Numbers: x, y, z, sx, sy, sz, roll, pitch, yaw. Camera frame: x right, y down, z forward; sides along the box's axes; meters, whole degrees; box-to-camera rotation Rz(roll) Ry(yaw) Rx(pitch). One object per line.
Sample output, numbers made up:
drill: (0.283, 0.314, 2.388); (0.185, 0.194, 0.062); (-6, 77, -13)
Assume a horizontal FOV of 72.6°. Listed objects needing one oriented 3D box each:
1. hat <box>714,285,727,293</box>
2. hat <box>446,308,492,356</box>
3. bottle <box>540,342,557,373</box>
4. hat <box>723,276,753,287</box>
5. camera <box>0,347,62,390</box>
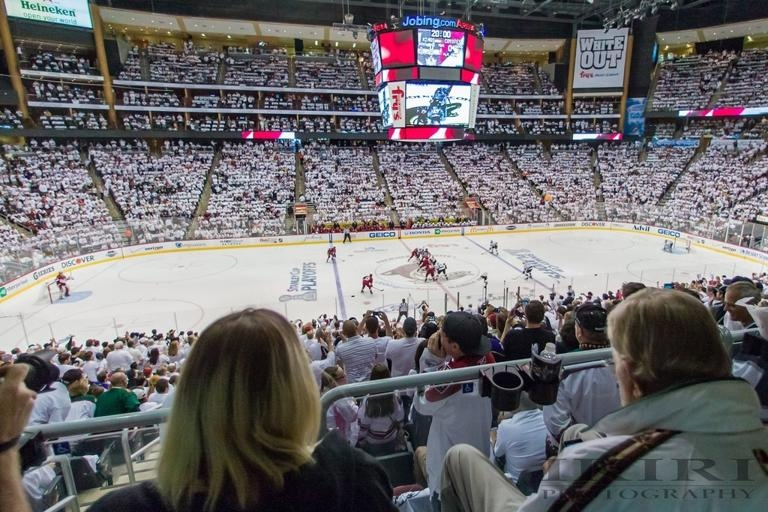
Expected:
hat: (7.927, 0.761, 12.297); (0.238, 0.055, 0.242); (-9, 11, 6)
hat: (1.008, 0.963, 6.477); (0.417, 0.349, 0.578); (-17, 41, -29)
bottle: (1.713, 1.019, 5.441); (0.205, 0.321, 0.201); (-3, 7, 0)
hat: (8.157, 0.561, 12.060); (0.466, 0.161, 0.436); (-8, 4, -36)
camera: (-3.382, 1.113, 5.125); (0.353, 0.242, 0.541); (3, 3, 1)
